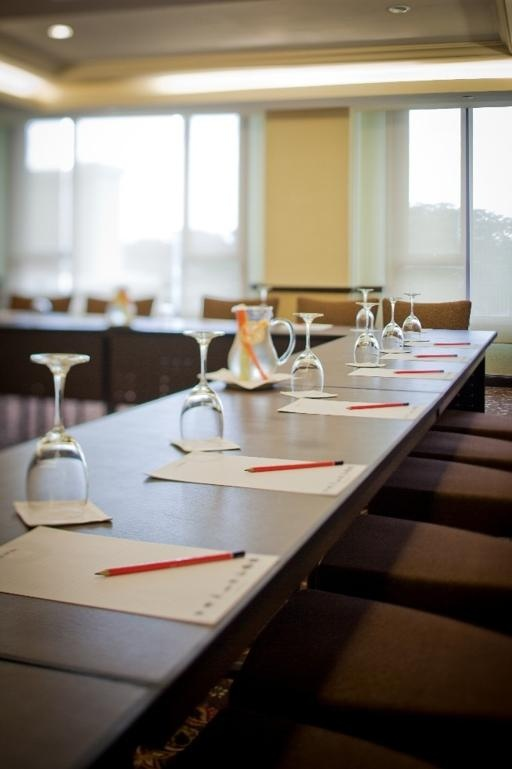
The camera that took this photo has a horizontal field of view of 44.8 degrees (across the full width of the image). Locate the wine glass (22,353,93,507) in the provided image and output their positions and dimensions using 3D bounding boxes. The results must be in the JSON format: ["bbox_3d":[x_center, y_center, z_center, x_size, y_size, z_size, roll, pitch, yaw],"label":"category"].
[{"bbox_3d":[-0.247,0.047,0.776,0.078,0.175,0.202,-4,7,-16],"label":"wine glass"}]

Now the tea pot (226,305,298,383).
[{"bbox_3d":[-0.003,-0.111,1.713,0.167,0.256,0.236,0,0,44],"label":"tea pot"}]
